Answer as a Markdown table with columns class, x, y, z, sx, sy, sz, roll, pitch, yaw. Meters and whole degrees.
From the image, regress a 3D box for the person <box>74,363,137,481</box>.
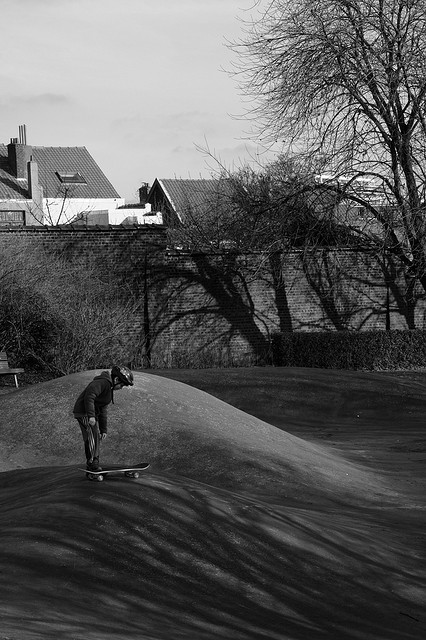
| class | x | y | z | sx | sy | sz | roll | pitch | yaw |
| --- | --- | --- | --- | --- | --- | --- | --- | --- | --- |
| person | -0.880 | 0.742 | 7.018 | 0.296 | 0.773 | 0.438 | 10 | 6 | 38 |

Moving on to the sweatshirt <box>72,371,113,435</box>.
| class | x | y | z | sx | sy | sz | roll | pitch | yaw |
| --- | --- | --- | --- | --- | --- | --- | --- | --- | --- |
| sweatshirt | -0.924 | 0.646 | 6.975 | 0.285 | 0.477 | 0.430 | 5 | 6 | -7 |

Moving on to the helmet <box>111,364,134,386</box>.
| class | x | y | z | sx | sy | sz | roll | pitch | yaw |
| --- | --- | --- | --- | --- | --- | --- | --- | --- | --- |
| helmet | -0.706 | 0.421 | 7.067 | 0.081 | 0.166 | 0.121 | -31 | 6 | -5 |
